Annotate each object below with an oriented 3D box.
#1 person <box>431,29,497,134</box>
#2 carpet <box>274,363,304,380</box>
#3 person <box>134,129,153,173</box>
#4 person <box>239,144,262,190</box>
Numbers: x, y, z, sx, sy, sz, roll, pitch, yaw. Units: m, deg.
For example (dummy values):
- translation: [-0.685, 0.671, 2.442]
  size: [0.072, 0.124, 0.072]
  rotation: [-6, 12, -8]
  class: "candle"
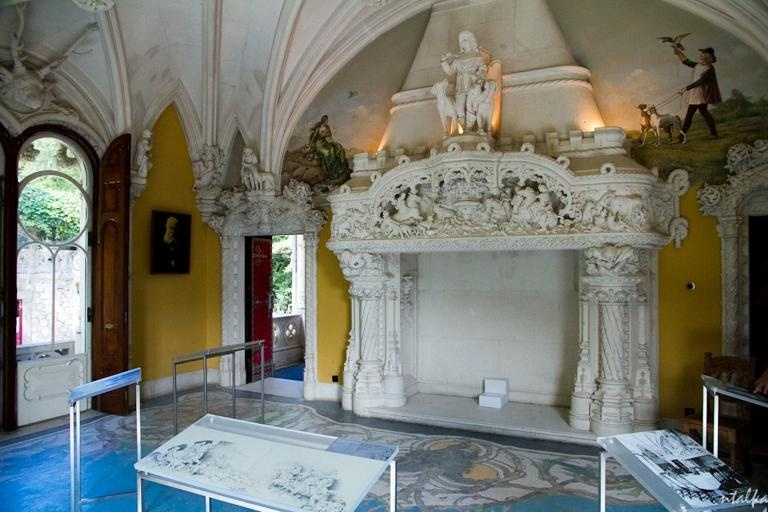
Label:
- translation: [1.208, -2.401, 7.860]
  size: [0.945, 1.463, 0.631]
  rotation: [-2, -2, 14]
  class: "person"
- translation: [-1.930, 2.378, 11.047]
  size: [0.596, 0.061, 1.600]
  rotation: [-1, -2, -10]
  class: "carpet"
- translation: [-3.911, -1.712, 8.961]
  size: [0.255, 0.741, 0.327]
  rotation: [-2, -2, 15]
  class: "person"
- translation: [-2.311, -1.497, 9.383]
  size: [0.243, 0.801, 0.443]
  rotation: [0, -3, -30]
  class: "person"
